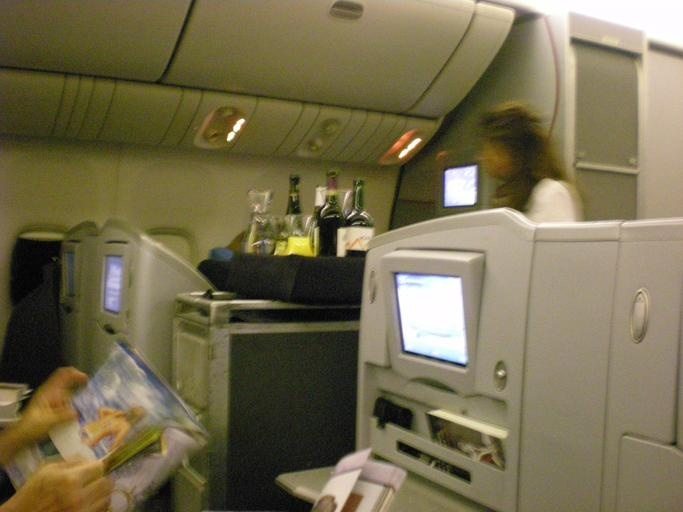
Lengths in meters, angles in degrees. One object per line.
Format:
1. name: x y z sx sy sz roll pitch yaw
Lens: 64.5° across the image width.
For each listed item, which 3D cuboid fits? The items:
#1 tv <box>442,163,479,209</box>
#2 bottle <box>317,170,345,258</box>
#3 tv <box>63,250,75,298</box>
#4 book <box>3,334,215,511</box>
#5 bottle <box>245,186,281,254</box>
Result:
1. tv: 0.659 -0.376 2.967 0.033 0.250 0.337 0 4 -25
2. bottle: -0.033 -0.136 1.698 0.088 0.252 0.077 2 0 -3
3. tv: -1.263 0.075 2.494 0.040 0.181 0.176 1 -16 -21
4. book: -0.303 0.243 0.798 0.234 0.234 0.092 45 -1 17
5. bottle: -0.266 -0.120 1.796 0.104 0.215 0.333 2 0 -10
